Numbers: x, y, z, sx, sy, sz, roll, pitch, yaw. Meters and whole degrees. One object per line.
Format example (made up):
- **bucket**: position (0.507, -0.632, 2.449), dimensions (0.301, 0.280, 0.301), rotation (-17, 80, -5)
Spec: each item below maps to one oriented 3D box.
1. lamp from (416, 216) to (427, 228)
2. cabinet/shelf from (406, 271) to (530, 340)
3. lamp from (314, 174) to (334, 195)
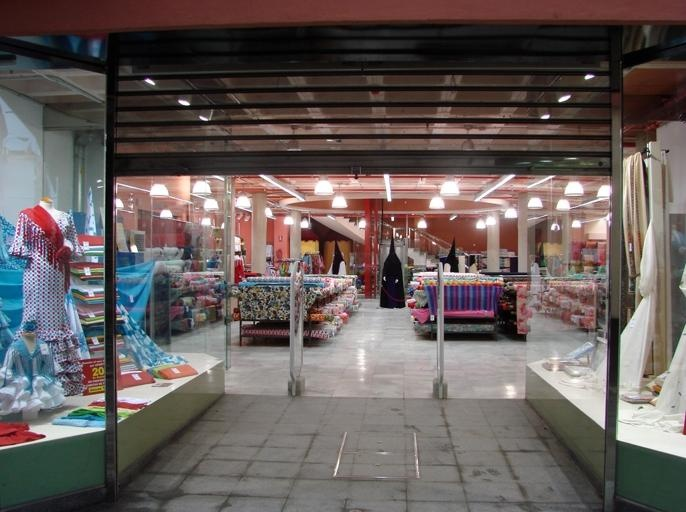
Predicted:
- **lamp**: position (3.531, -1.510, 22.791), dimensions (0.633, 0.585, 0.588), rotation (-1, 1, -1)
- **cabinet/shelf**: position (2.596, 0.956, 11.179), dimensions (1.830, 0.831, 1.691), rotation (0, -2, 2)
- **lamp**: position (-0.361, -1.361, 9.977), dimensions (0.281, 0.334, 0.840), rotation (0, 2, -7)
